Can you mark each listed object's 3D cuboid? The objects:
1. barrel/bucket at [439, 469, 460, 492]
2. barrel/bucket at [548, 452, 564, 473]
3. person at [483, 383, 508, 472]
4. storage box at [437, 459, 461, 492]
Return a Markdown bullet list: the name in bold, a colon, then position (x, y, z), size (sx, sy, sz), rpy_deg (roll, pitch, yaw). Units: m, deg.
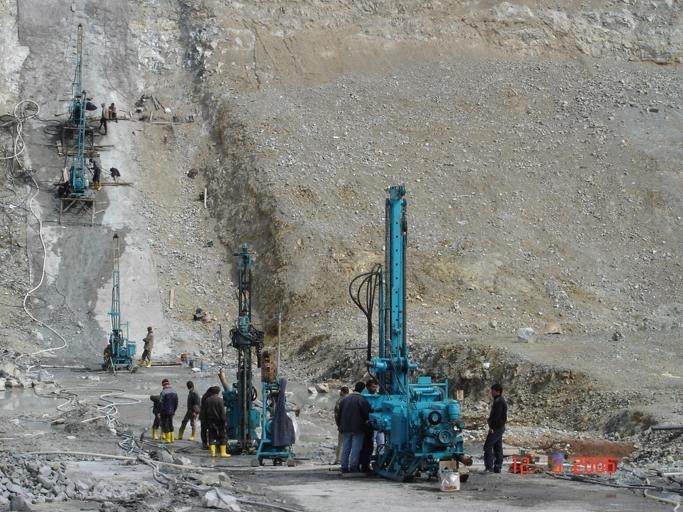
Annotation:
- **barrel/bucket**: position (4.056, 8.449, 57.592), size (0.692, 0.657, 0.692), rpy_deg (0, -1, 0)
- **barrel/bucket**: position (8.298, 7.986, 59.250), size (0.599, 0.641, 0.799), rpy_deg (5, 6, 8)
- **person**: position (5.984, 6.645, 59.401), size (0.784, 3.282, 1.014), rpy_deg (5, 6, 7)
- **storage box**: position (4.336, 8.319, 57.984), size (1.000, 1.336, 0.978), rpy_deg (1, -11, -4)
